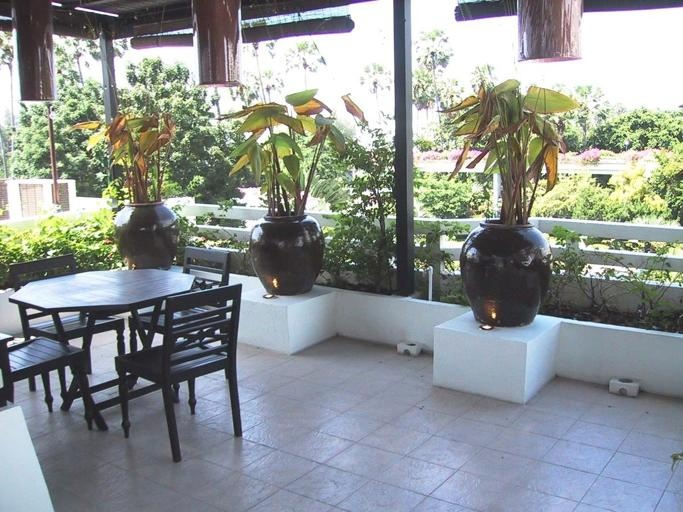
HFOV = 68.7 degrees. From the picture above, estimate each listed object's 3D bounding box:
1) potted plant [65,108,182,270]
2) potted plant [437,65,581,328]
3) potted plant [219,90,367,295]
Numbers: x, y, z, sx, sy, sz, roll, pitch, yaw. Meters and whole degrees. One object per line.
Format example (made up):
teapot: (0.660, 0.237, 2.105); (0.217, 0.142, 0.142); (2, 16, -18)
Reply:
potted plant: (-2.360, -0.744, 5.847); (0.856, 1.748, 0.993); (-8, 14, -28)
potted plant: (1.293, -0.377, 3.913); (0.880, 1.891, 0.667); (4, 13, 23)
potted plant: (-0.485, -0.580, 4.839); (1.107, 1.929, 0.693); (-2, 12, -4)
